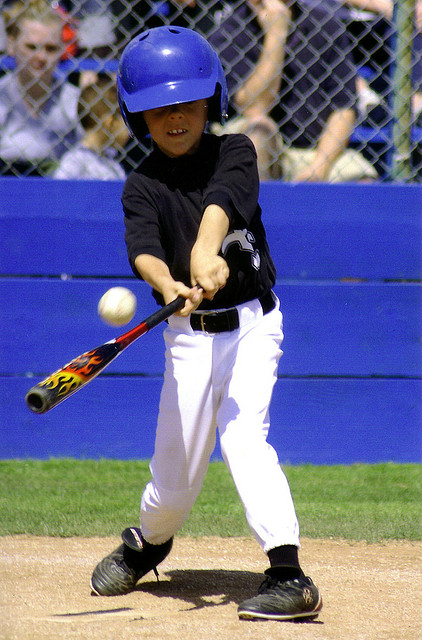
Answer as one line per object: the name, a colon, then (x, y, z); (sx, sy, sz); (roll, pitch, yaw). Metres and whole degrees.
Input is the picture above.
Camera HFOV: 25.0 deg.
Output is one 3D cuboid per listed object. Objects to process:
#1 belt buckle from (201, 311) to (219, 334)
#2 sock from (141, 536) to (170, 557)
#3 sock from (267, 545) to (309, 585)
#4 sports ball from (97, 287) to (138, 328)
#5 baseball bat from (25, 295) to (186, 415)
belt buckle: (-0.006, 0.008, 2.551); (0.043, 0.054, 0.039); (2, 39, -1)
sock: (-0.170, 0.656, 2.745); (0.066, 0.061, 0.042); (2, 69, -2)
sock: (0.189, 0.605, 2.439); (0.060, 0.156, 0.067); (-20, 20, 11)
sports ball: (-0.255, -0.024, 2.616); (0.094, 0.152, 0.158); (4, 38, 1)
baseball bat: (-0.370, 0.118, 3.383); (0.123, 0.116, 0.818); (40, 51, 23)
